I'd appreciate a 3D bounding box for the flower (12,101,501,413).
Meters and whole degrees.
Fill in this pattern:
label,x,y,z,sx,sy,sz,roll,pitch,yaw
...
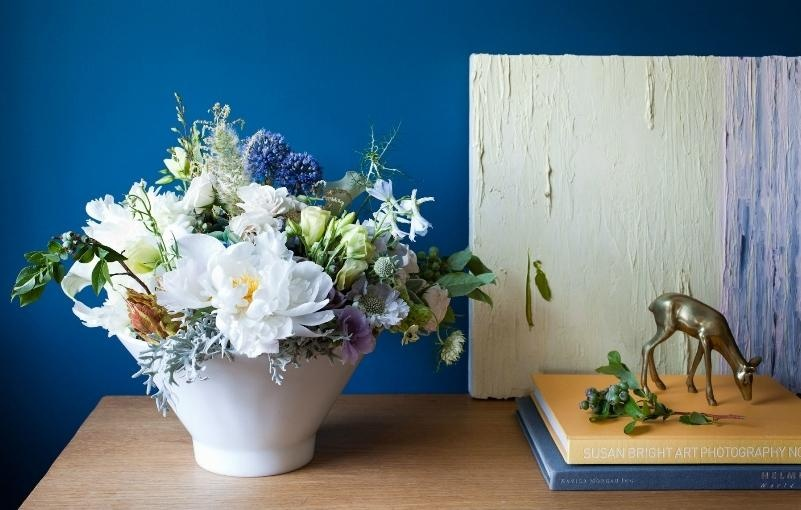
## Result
label,x,y,z,sx,sy,sz,roll,pitch,yaw
flower,-0.229,0.035,1.256,0.786,0.587,0.392,1,17,7

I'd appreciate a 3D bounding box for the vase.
label,x,y,z,sx,sy,sz,roll,pitch,yaw
vase,-0.258,0.294,1.297,0.348,0.193,0.294,-8,3,-10

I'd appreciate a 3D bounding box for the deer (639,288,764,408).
label,x,y,z,sx,sy,sz,roll,pitch,yaw
deer,0.576,0.185,1.318,0.067,0.191,0.228,7,4,-41
